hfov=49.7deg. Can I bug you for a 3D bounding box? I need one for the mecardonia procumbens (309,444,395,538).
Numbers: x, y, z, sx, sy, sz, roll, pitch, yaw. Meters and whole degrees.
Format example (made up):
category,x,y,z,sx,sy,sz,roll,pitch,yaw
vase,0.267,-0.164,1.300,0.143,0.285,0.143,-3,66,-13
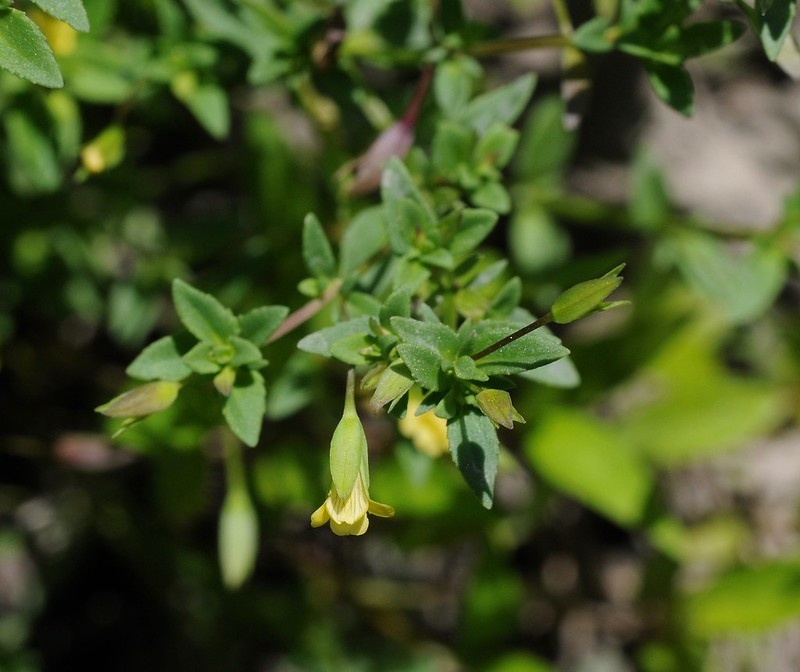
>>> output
category,x,y,z,sx,sy,sz,roll,pitch,yaw
mecardonia procumbens,-0.038,0.159,0.911,0.085,0.087,0.098,-7,52,9
